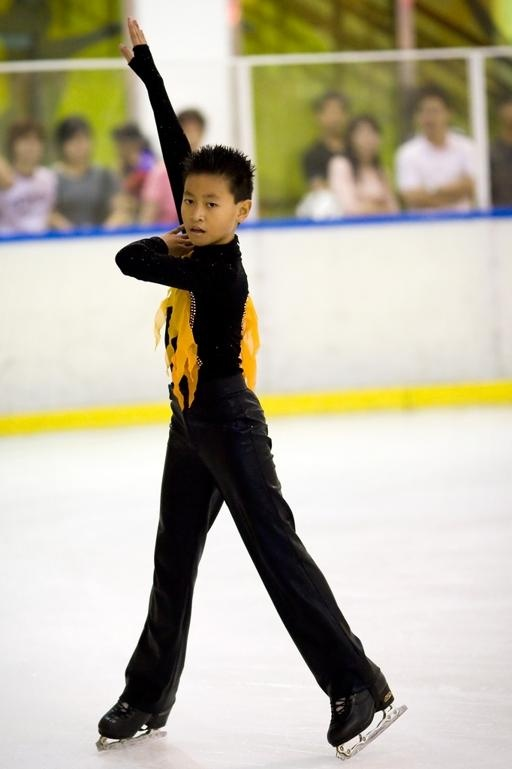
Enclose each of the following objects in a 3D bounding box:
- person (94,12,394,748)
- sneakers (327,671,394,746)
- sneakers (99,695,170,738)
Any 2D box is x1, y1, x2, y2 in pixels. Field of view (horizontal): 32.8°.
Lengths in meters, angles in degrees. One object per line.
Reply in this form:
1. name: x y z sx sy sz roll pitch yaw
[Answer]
1. person: -0.037 -0.011 1.557 0.512 1.308 0.493 -2 7 8
2. sneakers: 0.172 0.524 1.409 0.139 0.127 0.052 -8 8 -40
3. sneakers: -0.222 0.591 1.528 0.156 0.045 0.074 -10 -32 3
